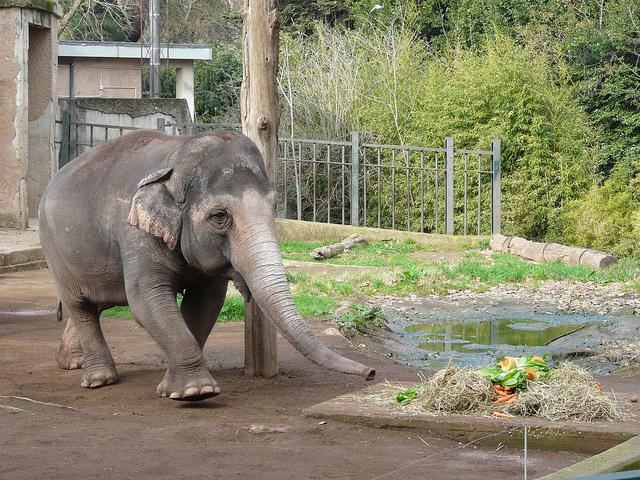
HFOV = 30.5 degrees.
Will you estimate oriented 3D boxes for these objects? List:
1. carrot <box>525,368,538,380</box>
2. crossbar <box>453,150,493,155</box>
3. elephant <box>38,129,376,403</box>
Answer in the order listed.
[{"bbox_3d":[2.631,1.673,14.578,0.156,0.052,0.108,17,47,-13],"label":"carrot"},{"bbox_3d":[3.333,-1.886,25.204,0.862,0.104,0.637,-3,8,-22],"label":"crossbar"},{"bbox_3d":[-1.901,0.381,15.704,2.427,3.274,5.784,-2,2,-43],"label":"elephant"}]
